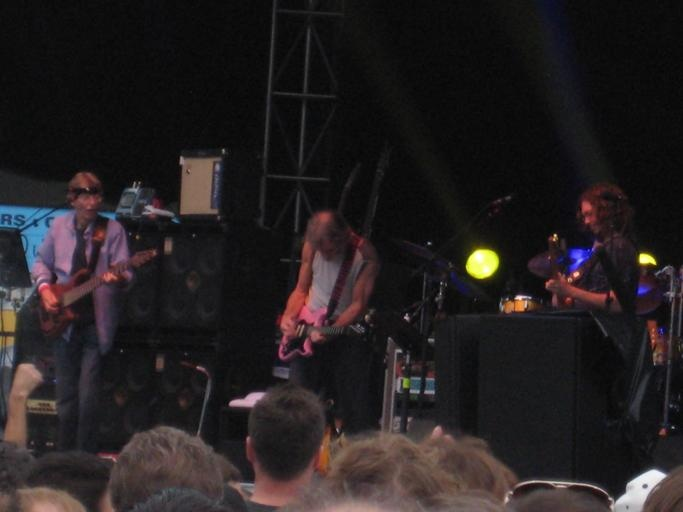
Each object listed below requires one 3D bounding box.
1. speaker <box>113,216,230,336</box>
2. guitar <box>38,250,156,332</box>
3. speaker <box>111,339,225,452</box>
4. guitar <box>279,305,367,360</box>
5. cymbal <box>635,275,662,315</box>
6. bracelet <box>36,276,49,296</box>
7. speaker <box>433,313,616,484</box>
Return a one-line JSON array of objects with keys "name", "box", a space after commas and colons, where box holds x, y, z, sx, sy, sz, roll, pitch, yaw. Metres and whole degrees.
[{"name": "speaker", "box": [-1.276, 0.212, 6.328, 1.083, 1.079, 0.824, 0, -6, 7]}, {"name": "guitar", "box": [-2.062, 0.310, 6.081, 0.892, 0.736, 0.165, 1, -11, 11]}, {"name": "speaker", "box": [-1.478, 1.133, 5.984, 1.024, 0.843, 0.228, 0, -11, 17]}, {"name": "guitar", "box": [-0.153, 0.625, 5.948, 0.719, 0.457, 0.226, -3, -13, 31]}, {"name": "cymbal", "box": [2.923, 0.356, 7.015, 0.275, 0.367, 0.353, 7, -39, 15]}, {"name": "bracelet", "box": [-2.464, 0.243, 6.093, 0.089, 0.123, 0.063, 31, -12, -8]}, {"name": "speaker", "box": [1.242, 0.837, 4.892, 1.043, 1.558, 0.858, -2, -1, 18]}]
